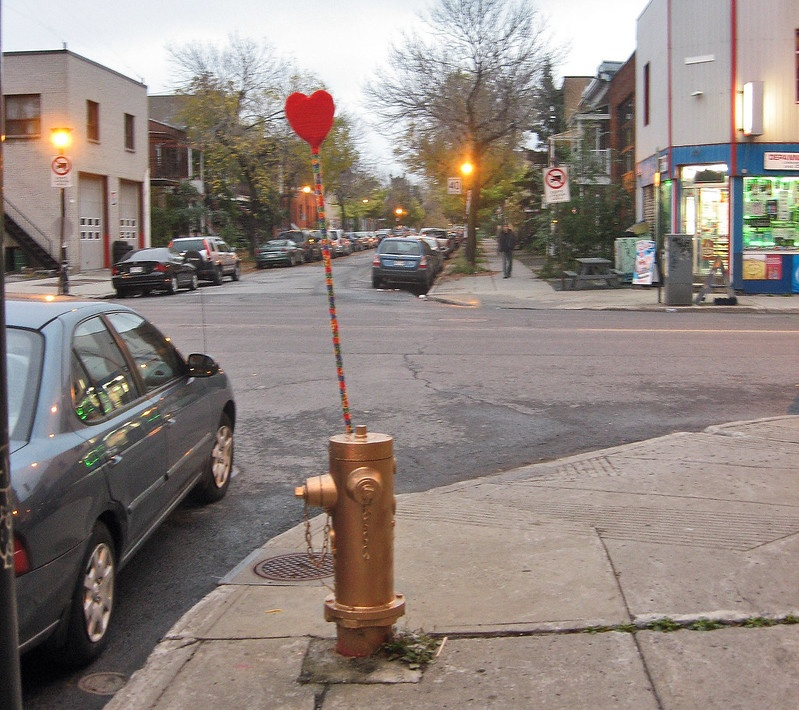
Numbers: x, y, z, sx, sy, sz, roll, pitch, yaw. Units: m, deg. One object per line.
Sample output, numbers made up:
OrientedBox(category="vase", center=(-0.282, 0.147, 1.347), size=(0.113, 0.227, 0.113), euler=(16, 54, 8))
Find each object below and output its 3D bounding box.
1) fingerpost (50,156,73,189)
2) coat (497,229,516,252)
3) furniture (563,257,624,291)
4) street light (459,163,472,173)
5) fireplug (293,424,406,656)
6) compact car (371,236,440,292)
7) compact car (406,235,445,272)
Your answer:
OrientedBox(category="fingerpost", center=(-9.935, -5.450, 23.406), size=(0.533, 0.904, 0.849), euler=(-7, 8, -20))
OrientedBox(category="coat", center=(4.406, -4.671, 32.528), size=(0.660, 0.942, 0.805), euler=(-3, 8, 4))
OrientedBox(category="furniture", center=(6.696, -2.728, 26.819), size=(1.980, 0.723, 1.697), euler=(-7, 12, -27))
OrientedBox(category="street light", center=(2.837, -7.932, 33.732), size=(0.583, 0.319, 0.510), euler=(-2, -7, 9))
OrientedBox(category="fireplug", center=(-0.198, 0.764, 3.309), size=(0.415, 0.967, 0.273), euler=(-5, 8, -4))
OrientedBox(category="compact car", center=(0.103, -3.099, 27.412), size=(2.079, 1.969, 2.159), euler=(-4, 7, -4))
OrientedBox(category="compact car", center=(1.235, -4.527, 35.163), size=(1.431, 0.957, 2.573), euler=(1, 12, 10))
